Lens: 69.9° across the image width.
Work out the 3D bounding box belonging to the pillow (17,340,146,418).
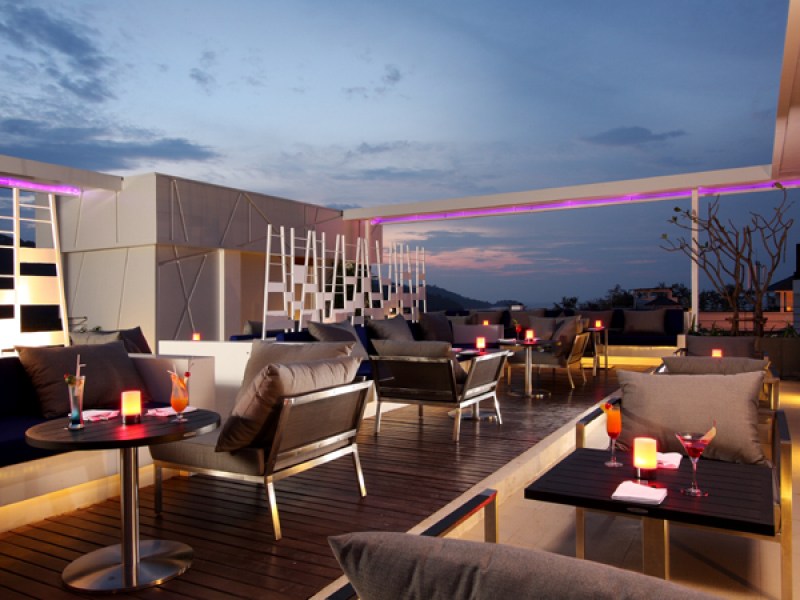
[{"bbox_3d":[-2.224,0.559,4.044,0.313,0.494,0.795,5,0,15],"label":"pillow"}]

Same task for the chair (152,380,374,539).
[{"bbox_3d":[-0.821,0.834,3.544,0.954,0.724,0.943,0,-2,25],"label":"chair"}]
